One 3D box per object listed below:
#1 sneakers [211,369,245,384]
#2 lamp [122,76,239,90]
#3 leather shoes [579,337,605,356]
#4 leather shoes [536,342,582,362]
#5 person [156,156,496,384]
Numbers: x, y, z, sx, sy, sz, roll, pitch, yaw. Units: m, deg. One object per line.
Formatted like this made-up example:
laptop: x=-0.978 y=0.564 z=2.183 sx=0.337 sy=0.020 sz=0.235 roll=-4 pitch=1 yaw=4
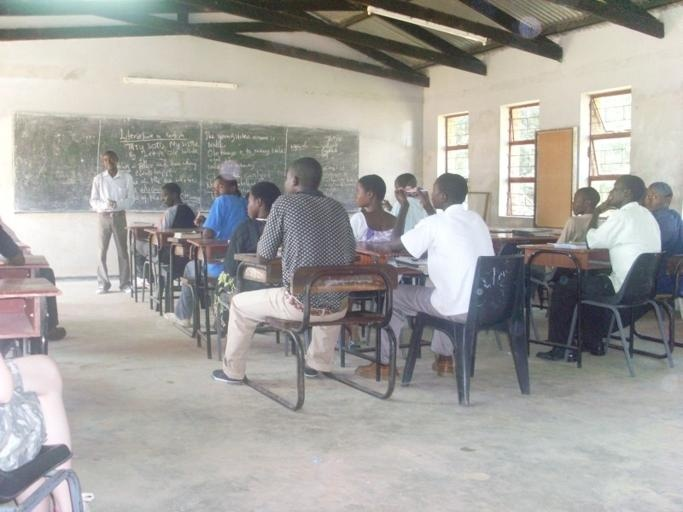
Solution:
sneakers: x=-0.722 y=0.764 z=3.862 sx=0.235 sy=0.099 sz=0.090 roll=13 pitch=12 yaw=42
lamp: x=-2.241 y=-2.435 z=8.558 sx=1.565 sy=0.124 sz=0.110 roll=-2 pitch=8 yaw=-19
leather shoes: x=1.860 y=0.673 z=4.511 sx=0.160 sy=0.154 sz=0.085 roll=-2 pitch=13 yaw=-8
leather shoes: x=1.594 y=0.714 z=4.497 sx=0.104 sy=0.135 sz=0.307 roll=2 pitch=2 yaw=-41
person: x=0.101 y=0.135 z=3.675 sx=1.596 sy=1.414 sz=0.627 roll=0 pitch=8 yaw=-6
